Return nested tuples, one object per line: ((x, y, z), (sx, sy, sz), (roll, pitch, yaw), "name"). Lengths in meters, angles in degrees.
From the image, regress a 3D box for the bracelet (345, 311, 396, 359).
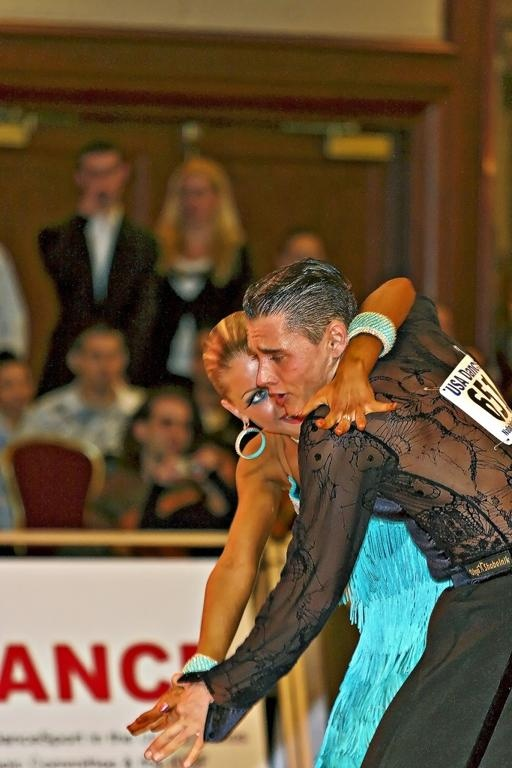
((0.203, -0.084, 1.607), (0.079, 0.046, 0.085), (25, -5, -12), "bracelet")
